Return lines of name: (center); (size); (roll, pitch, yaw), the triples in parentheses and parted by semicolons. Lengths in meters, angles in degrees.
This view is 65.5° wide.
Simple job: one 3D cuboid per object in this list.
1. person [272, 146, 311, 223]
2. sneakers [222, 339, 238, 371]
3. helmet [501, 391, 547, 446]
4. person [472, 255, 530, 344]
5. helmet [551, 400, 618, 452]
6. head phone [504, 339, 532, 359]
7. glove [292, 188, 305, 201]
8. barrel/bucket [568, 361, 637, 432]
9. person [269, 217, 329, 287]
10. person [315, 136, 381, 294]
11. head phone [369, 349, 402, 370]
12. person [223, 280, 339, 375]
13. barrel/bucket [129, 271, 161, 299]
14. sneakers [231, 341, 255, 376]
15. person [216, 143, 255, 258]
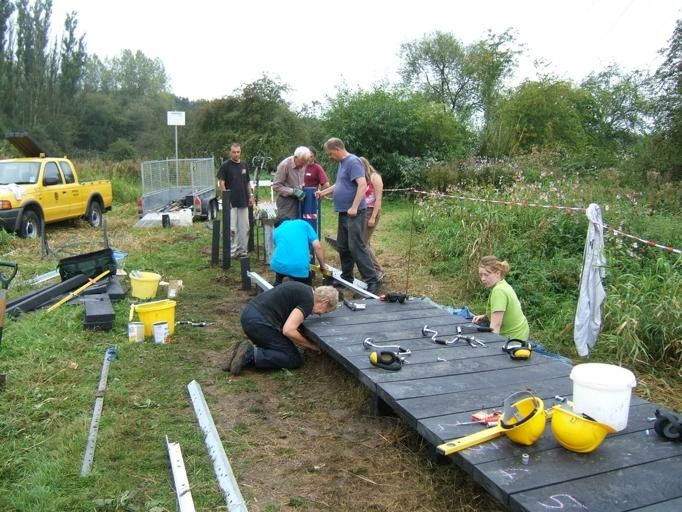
person: (-0.776, -1.071, 8.580); (0.627, 1.147, 0.798); (-1, 9, -6)
sneakers: (-1.163, 1.034, 5.606); (0.066, 0.273, 0.171); (35, -34, -22)
helmet: (1.273, 1.073, 3.719); (0.286, 0.357, 0.383); (3, 9, 18)
person: (1.658, 0.441, 5.426); (0.434, 0.809, 0.376); (-8, 12, -40)
helmet: (1.618, 1.113, 3.569); (0.347, 0.171, 0.284); (-1, -7, 11)
head phone: (1.603, 0.835, 4.840); (0.161, 0.096, 0.192); (-2, 5, -18)
glove: (-0.664, -0.904, 8.397); (0.169, 0.160, 0.360); (-1, 8, -7)
barrel/bucket: (1.736, 0.904, 3.719); (0.496, 0.387, 0.441); (-1, 9, 0)
person: (-0.584, -0.001, 7.101); (0.786, 1.318, 0.769); (-4, 49, -11)
person: (0.151, -0.498, 7.546); (0.582, 2.114, 0.750); (-6, 11, -33)
head phone: (0.402, 0.904, 4.656); (0.213, 0.081, 0.158); (12, 12, 27)
person: (-0.657, 0.789, 5.848); (1.254, 0.885, 0.793); (2, -2, -32)
barrel/bucket: (-2.717, 0.409, 7.367); (0.399, 0.251, 0.394); (2, 3, 0)
sneakers: (-1.022, 1.074, 5.566); (0.188, 0.401, 0.147); (18, -32, 4)
person: (-1.893, -0.901, 9.537); (0.537, 1.978, 0.724); (1, 9, 5)
